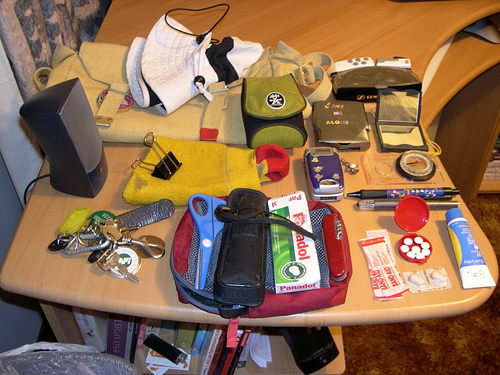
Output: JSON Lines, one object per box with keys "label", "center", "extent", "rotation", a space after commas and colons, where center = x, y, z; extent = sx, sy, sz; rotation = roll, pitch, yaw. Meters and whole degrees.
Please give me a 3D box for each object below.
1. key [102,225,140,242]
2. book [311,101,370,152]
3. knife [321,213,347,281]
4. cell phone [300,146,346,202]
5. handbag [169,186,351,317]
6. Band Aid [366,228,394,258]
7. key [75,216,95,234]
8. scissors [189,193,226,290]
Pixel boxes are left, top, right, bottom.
{"label": "key", "center": [-0.309, 0.106, 0.946], "extent": [0.055, 0.008, 0.032], "rotation": [-11, 45, -37]}
{"label": "book", "center": [0.257, -0.181, 1.161], "extent": [0.167, 0.040, 0.178], "rotation": [1, 53, 3]}
{"label": "knife", "center": [0.195, 0.135, 0.927], "extent": [0.044, 0.041, 0.157], "rotation": [-5, 57, 10]}
{"label": "cell phone", "center": [0.196, -0.043, 1.064], "extent": [0.098, 0.044, 0.175], "rotation": [-3, 45, 1]}
{"label": "handbag", "center": [0.028, 0.139, 0.844], "extent": [0.357, 0.121, 0.276], "rotation": [-1, 66, -7]}
{"label": "Band Aid", "center": [0.311, 0.136, 0.968], "extent": [0.068, 0.009, 0.088], "rotation": [-2, 44, 3]}
{"label": "key", "center": [-0.404, 0.091, 0.978], "extent": [0.031, 0.008, 0.032], "rotation": [3, 46, 3]}
{"label": "scissors", "center": [-0.106, 0.120, 0.935], "extent": [0.087, 0.015, 0.196], "rotation": [10, 53, 3]}
